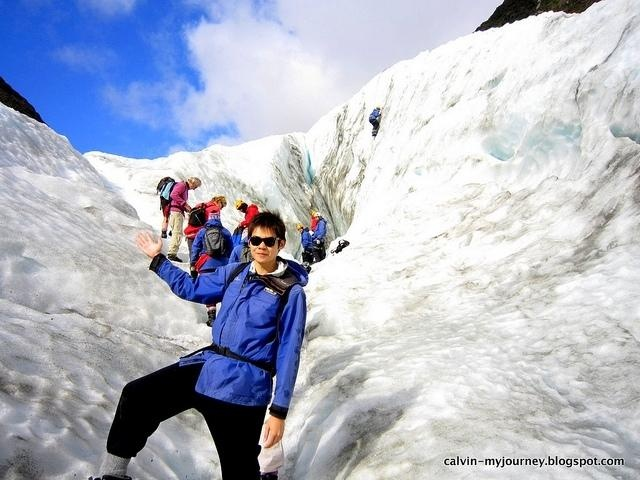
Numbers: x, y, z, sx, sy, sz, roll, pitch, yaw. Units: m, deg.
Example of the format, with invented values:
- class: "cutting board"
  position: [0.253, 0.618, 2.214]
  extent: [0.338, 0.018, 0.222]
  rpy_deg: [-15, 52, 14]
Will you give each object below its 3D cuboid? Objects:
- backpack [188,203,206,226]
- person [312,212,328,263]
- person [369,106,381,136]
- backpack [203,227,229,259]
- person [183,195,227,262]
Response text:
- class: "backpack"
  position: [-2.139, -0.428, 7.103]
  extent: [0.396, 0.390, 0.284]
  rpy_deg: [0, 2, 0]
- class: "person"
  position: [-0.017, -0.113, 13.237]
  extent: [0.578, 1.722, 1.023]
  rpy_deg: [7, -6, -1]
- class: "person"
  position: [2.662, -5.599, 19.048]
  extent: [0.556, 1.698, 0.947]
  rpy_deg: [7, -6, 7]
- class: "backpack"
  position: [-1.628, -0.068, 6.156]
  extent: [0.358, 0.511, 0.287]
  rpy_deg: [-14, 37, -14]
- class: "person"
  position: [-2.000, -0.364, 7.459]
  extent: [0.687, 0.877, 0.963]
  rpy_deg: [-1, -8, -14]
